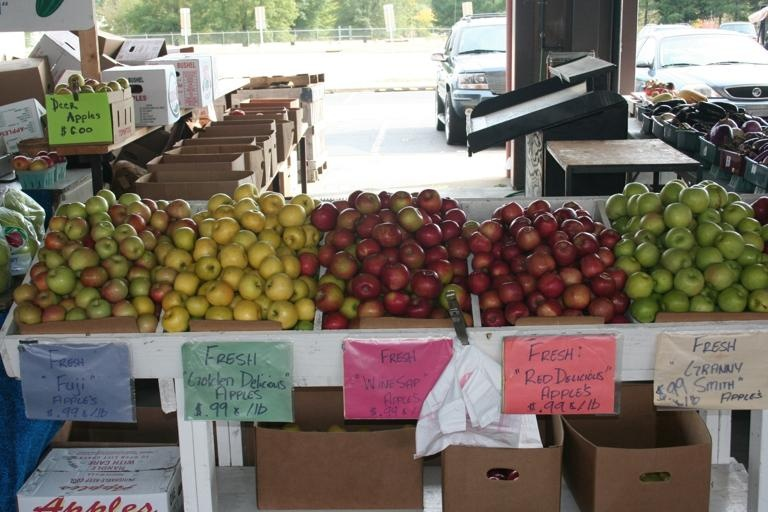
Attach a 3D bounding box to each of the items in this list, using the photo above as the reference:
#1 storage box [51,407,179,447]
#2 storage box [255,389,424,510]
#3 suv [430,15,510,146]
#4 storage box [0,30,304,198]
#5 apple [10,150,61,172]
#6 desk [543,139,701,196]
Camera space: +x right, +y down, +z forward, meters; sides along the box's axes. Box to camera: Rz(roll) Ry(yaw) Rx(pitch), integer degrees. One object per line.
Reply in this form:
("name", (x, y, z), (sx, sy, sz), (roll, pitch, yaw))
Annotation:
("storage box", (-1.389, 0.887, 3.311), (0.415, 0.099, 0.219), (-1, 21, 4))
("storage box", (-0.201, 0.927, 3.006), (0.677, 0.352, 0.512), (0, 1, 1))
("suv", (1.580, -3.264, 11.265), (1.401, 1.352, 2.481), (-2, 16, 0))
("storage box", (-1.906, -1.570, 8.011), (1.817, 1.697, 3.483), (0, 33, -2))
("apple", (-2.634, -0.716, 4.845), (0.240, 0.104, 0.243), (-11, 9, 37))
("desk", (1.771, -0.690, 4.917), (0.559, 0.439, 0.600), (-1, 29, -1))
